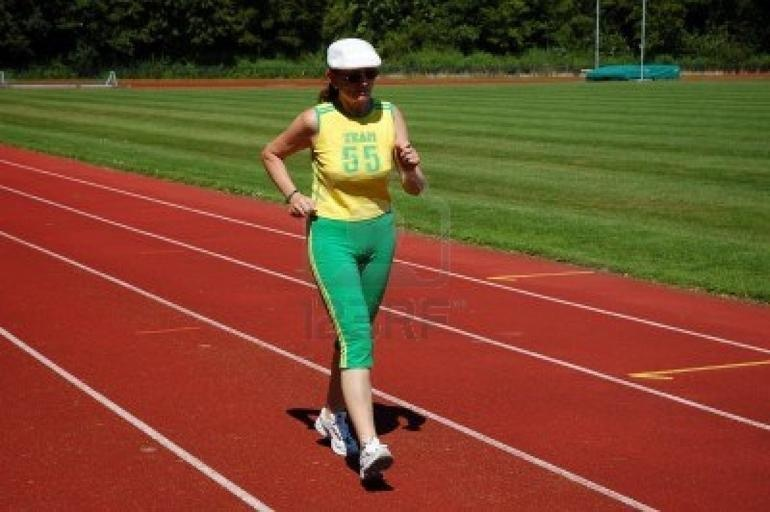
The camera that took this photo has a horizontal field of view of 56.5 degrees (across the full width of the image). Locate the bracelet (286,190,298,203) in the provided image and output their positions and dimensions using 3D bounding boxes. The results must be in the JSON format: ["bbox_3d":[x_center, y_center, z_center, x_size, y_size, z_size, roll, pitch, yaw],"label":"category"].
[{"bbox_3d":[-0.666,-0.403,5.043,0.027,0.088,0.095,40,31,6],"label":"bracelet"}]

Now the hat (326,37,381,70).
[{"bbox_3d":[-0.219,-1.393,4.951,0.347,0.193,0.326,-3,18,-3],"label":"hat"}]

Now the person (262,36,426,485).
[{"bbox_3d":[-0.235,0.099,5.111,1.048,3.121,1.225,-5,18,-9],"label":"person"}]

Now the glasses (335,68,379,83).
[{"bbox_3d":[-0.179,-1.234,4.900,0.297,0.091,0.140,-6,19,-12],"label":"glasses"}]

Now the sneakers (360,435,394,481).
[{"bbox_3d":[-0.065,1.393,4.849,0.141,0.328,0.208,-14,22,-33],"label":"sneakers"}]

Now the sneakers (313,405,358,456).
[{"bbox_3d":[-0.356,1.329,5.557,0.218,0.214,0.455,-16,46,-45],"label":"sneakers"}]
